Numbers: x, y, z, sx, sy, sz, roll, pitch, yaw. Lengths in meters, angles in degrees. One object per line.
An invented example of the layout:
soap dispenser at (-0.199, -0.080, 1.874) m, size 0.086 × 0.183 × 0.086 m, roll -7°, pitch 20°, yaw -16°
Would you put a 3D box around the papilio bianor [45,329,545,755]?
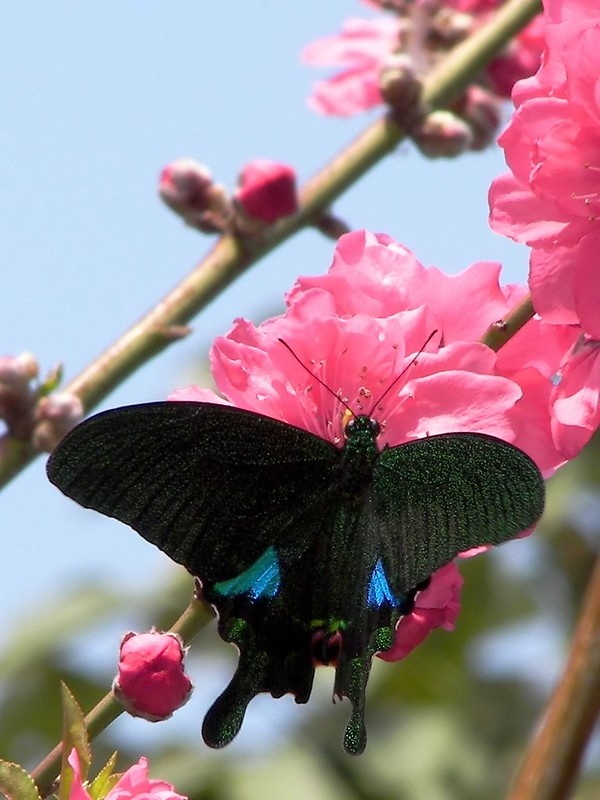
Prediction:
papilio bianor at (0.003, 0.140, 1.113) m, size 0.418 × 0.357 × 0.139 m, roll -2°, pitch -2°, yaw 2°
